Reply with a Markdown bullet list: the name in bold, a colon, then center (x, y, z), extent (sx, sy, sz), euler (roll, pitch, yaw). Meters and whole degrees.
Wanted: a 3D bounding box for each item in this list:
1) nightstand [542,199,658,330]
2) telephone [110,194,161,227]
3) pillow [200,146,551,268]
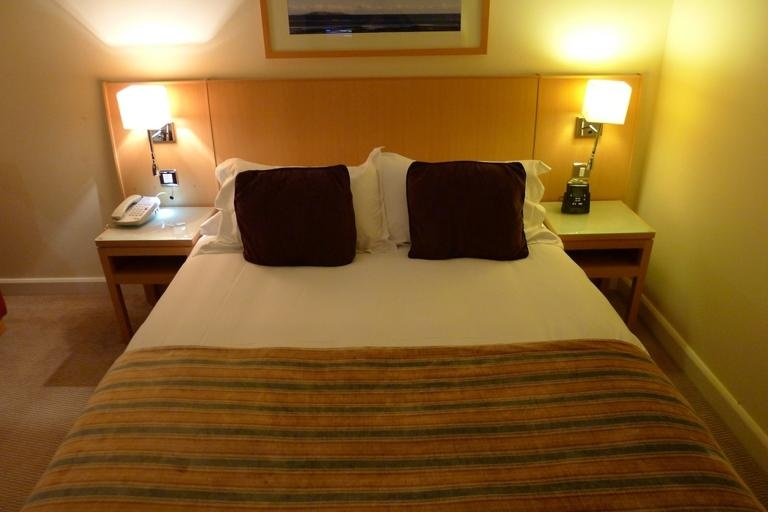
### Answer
- **nightstand**: center (1.307, 0.031, 3.244), extent (0.747, 0.756, 0.546), euler (-2, 41, 3)
- **telephone**: center (-1.652, -0.323, 3.587), extent (0.203, 0.105, 0.267), euler (3, 36, 9)
- **pillow**: center (-0.001, -0.269, 3.158), extent (2.288, 0.798, 0.246), euler (-3, 0, -5)
